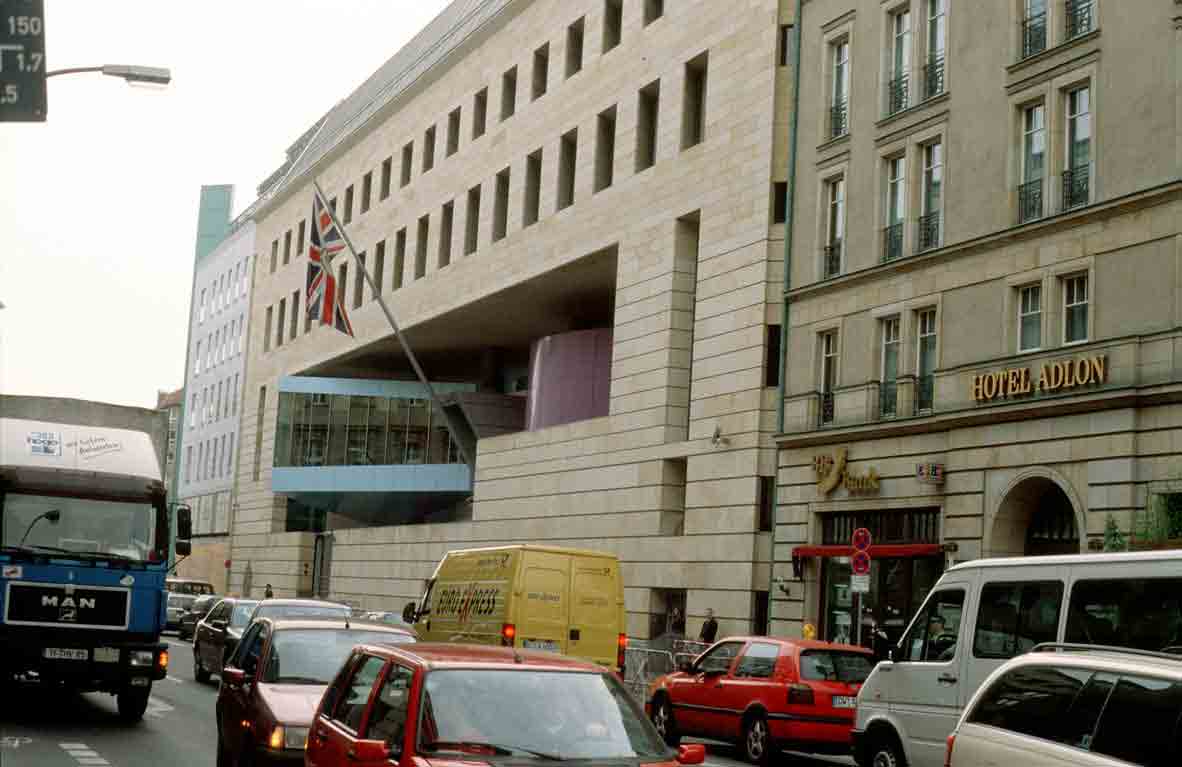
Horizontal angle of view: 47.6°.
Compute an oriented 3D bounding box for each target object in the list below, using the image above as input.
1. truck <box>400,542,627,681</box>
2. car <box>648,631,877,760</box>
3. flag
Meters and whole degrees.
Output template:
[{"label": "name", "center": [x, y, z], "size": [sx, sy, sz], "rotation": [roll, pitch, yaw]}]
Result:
[{"label": "truck", "center": [-1.754, 4.815, 28.996], "size": [2.665, 2.338, 4.419], "rotation": [5, -8, -31]}, {"label": "car", "center": [3.114, 5.593, 24.527], "size": [2.269, 1.513, 3.659], "rotation": [6, -7, -32]}, {"label": "flag", "center": [-10.240, -4.979, 52.279], "size": [1.639, 5.861, 3.850], "rotation": [7, -15, -13]}]
